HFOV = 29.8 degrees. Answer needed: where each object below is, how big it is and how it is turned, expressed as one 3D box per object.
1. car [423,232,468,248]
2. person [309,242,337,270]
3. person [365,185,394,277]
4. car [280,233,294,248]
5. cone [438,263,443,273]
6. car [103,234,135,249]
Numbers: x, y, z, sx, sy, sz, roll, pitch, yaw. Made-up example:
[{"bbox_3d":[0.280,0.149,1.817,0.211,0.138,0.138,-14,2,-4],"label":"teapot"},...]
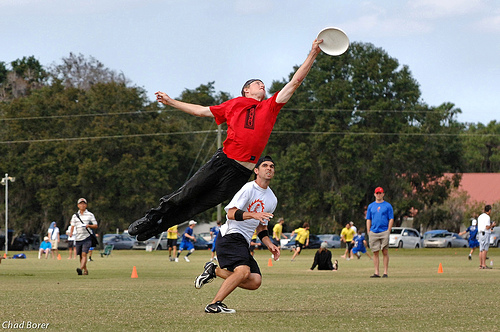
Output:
[{"bbox_3d":[16.732,6.383,79.170,3.054,1.056,1.466,6,-8,-32],"label":"car"},{"bbox_3d":[3.746,4.425,46.175,1.001,1.081,1.419,1,1,12],"label":"person"},{"bbox_3d":[5.869,2.975,42.204,1.145,3.966,0.765,0,-9,5],"label":"person"},{"bbox_3d":[3.039,6.104,77.665,1.117,1.018,1.996,-1,-9,3],"label":"car"},{"bbox_3d":[8.940,4.804,43.864,0.279,0.442,0.316,0,-6,1],"label":"cone"},{"bbox_3d":[-10.844,6.163,77.333,2.399,1.244,1.568,2,-9,-9],"label":"car"}]
